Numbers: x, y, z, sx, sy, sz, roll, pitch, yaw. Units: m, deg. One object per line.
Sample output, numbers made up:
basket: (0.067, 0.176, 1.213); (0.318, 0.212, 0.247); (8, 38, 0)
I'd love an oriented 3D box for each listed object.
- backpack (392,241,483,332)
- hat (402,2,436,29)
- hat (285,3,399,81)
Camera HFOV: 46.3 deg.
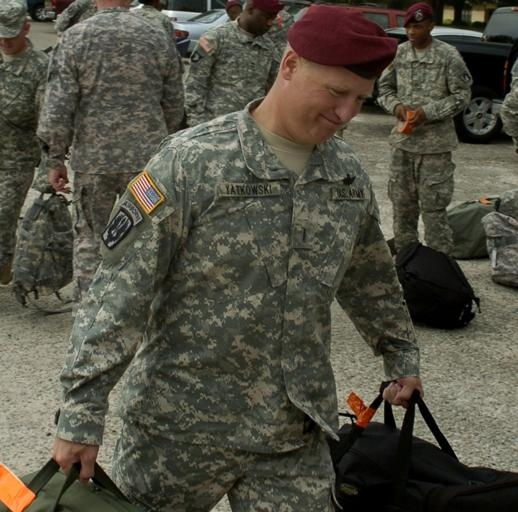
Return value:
backpack: (1.122, 0.171, 3.999); (0.620, 0.239, 0.641); (-6, 52, -39)
hat: (1.256, -1.900, 4.768); (0.212, 0.100, 0.222); (-1, -3, 4)
hat: (0.176, -0.448, 1.292); (0.223, 0.135, 0.170); (-1, 30, 6)
